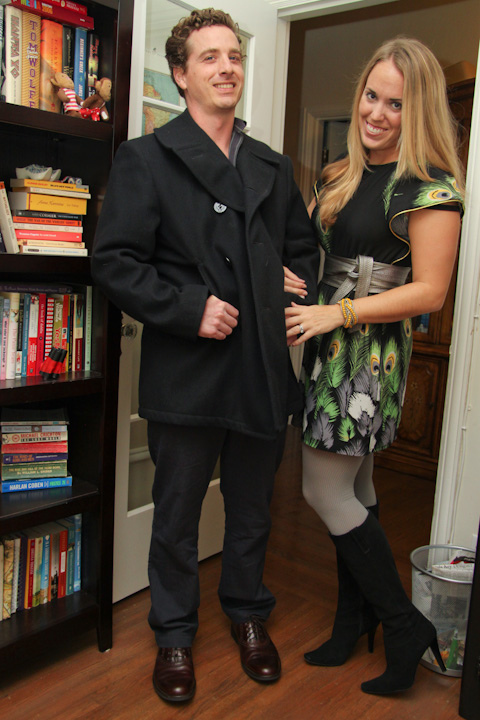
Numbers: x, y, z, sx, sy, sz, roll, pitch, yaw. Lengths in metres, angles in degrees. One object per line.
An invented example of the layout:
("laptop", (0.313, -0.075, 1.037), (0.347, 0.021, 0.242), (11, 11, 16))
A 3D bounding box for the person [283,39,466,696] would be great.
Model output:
("person", (0.298, 0.036, 1.419), (0.484, 1.615, 0.495), (7, 7, 31))

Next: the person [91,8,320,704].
("person", (-0.042, -0.008, 1.400), (0.368, 1.674, 0.608), (4, 3, 32))

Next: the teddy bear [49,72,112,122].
("teddy bear", (-0.370, -0.621, 1.305), (0.118, 0.124, 0.043), (7, -6, -32))

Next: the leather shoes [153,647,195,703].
("leather shoes", (-0.158, 0.763, 1.332), (0.056, 0.062, 0.154), (1, 4, -5))

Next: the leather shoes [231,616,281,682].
("leather shoes", (0.046, 0.772, 1.473), (0.060, 0.078, 0.171), (-2, 2, -13))

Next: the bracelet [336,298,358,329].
("bracelet", (0.251, -0.109, 1.272), (0.024, 0.053, 0.059), (-17, 36, 7))
